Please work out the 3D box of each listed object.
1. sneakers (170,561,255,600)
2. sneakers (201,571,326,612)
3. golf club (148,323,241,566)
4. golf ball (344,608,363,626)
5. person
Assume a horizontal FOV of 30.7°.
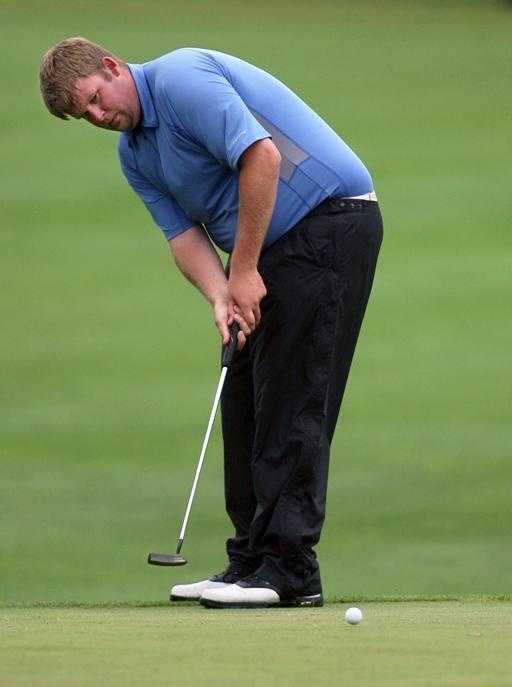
[{"bbox_3d":[-0.107,0.524,2.048,0.219,0.076,0.067,-1,-8,-1],"label":"sneakers"},{"bbox_3d":[0.015,0.503,1.913,0.251,0.080,0.080,7,-11,-13],"label":"sneakers"},{"bbox_3d":[-0.128,0.197,1.850,0.095,0.468,0.083,5,-10,21],"label":"golf club"},{"bbox_3d":[0.168,0.481,1.641,0.027,0.025,0.049,-2,-9,4],"label":"golf ball"},{"bbox_3d":[-0.110,-0.028,1.858,0.602,1.116,0.465,8,-14,-43],"label":"person"}]
